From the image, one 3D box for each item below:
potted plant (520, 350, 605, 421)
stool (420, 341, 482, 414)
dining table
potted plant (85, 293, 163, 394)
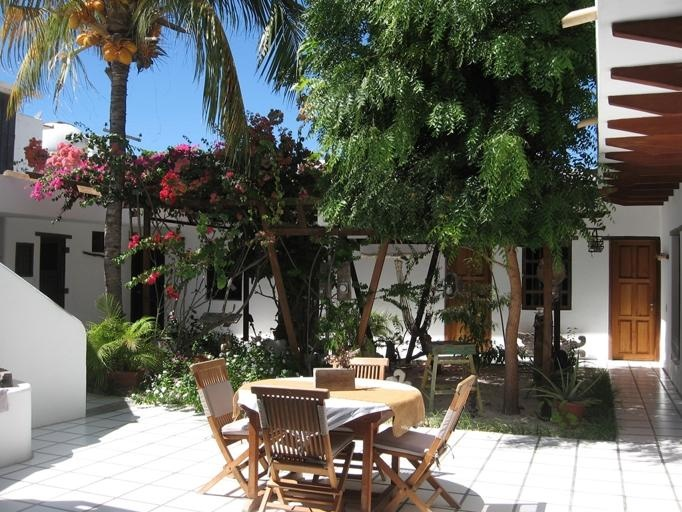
[{"bbox_3d":[3.304,1.954,8.290,0.900,0.822,0.951,-2,-1,-26],"label":"potted plant"},{"bbox_3d":[1.647,1.814,8.811,0.942,1.563,0.914,-1,1,7],"label":"stool"},{"bbox_3d":[-0.008,1.472,5.469,1.227,0.880,1.410,-1,-3,15],"label":"dining table"},{"bbox_3d":[-3.656,1.455,9.704,1.234,1.602,1.379,1,-6,-23],"label":"potted plant"}]
